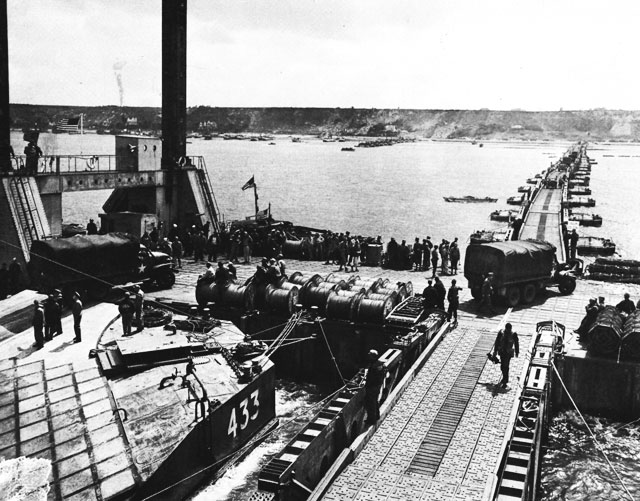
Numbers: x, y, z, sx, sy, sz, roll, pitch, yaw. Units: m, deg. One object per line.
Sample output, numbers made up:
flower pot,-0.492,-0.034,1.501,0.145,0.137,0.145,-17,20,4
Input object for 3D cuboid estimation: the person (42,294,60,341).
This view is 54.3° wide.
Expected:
person,-9.212,2.311,21.429,0.549,1.431,0.702,-4,11,-24

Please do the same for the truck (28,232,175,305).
truck,-8.605,0.833,27.144,4.755,2.999,6.406,8,13,32

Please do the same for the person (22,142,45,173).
person,-14.380,-4.683,31.232,0.848,1.630,1.724,-4,12,-25

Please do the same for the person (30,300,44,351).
person,-9.452,2.392,20.887,0.355,1.495,1.205,-4,11,-25

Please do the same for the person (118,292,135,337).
person,-6.703,2.169,21.605,0.476,1.554,0.963,-3,11,-18

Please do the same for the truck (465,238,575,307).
truck,9.166,0.872,29.846,5.172,2.893,2.750,-15,19,-36

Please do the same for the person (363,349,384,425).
person,1.571,3.904,17.833,0.562,2.118,0.653,1,10,4
